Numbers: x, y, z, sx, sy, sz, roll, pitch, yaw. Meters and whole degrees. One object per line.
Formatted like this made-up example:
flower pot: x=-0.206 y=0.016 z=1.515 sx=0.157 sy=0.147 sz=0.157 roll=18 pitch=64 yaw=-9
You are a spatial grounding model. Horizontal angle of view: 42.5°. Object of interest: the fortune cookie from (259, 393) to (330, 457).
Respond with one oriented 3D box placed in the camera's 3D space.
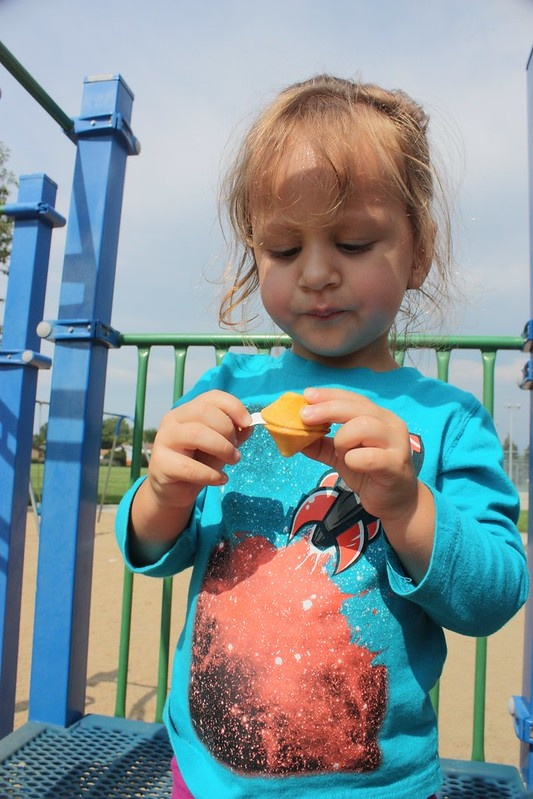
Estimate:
fortune cookie: x=0.047 y=0.041 z=1.158 sx=0.105 sy=0.098 sz=0.102 roll=5 pitch=1 yaw=16
